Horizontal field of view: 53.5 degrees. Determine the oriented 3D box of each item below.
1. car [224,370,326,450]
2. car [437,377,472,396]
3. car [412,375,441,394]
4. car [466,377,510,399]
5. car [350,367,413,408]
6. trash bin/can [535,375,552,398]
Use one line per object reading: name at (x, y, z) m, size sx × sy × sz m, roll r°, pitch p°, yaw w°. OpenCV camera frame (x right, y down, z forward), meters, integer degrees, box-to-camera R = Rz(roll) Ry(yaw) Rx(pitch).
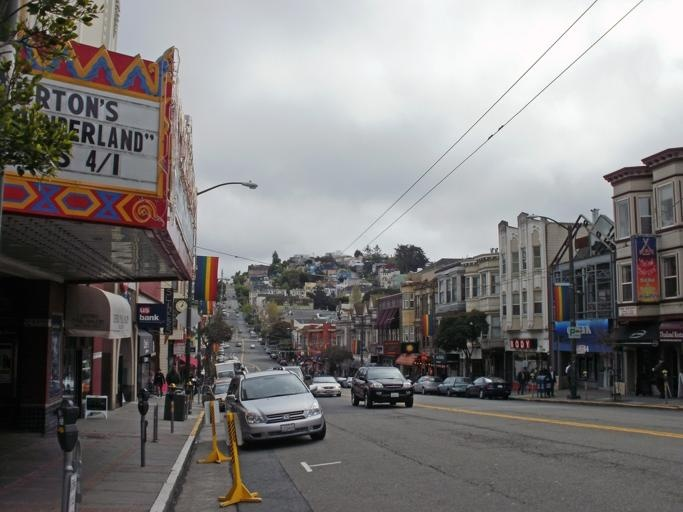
car at (-1.996, 4.166, 18.551) m, size 1.417 × 1.347 × 2.945 m, roll 0°, pitch -19°, yaw -16°
car at (7.692, 8.909, 46.199) m, size 0.990 × 0.802 × 2.258 m, roll 1°, pitch -7°, yaw -10°
car at (6.517, 9.645, 50.775) m, size 1.642 × 1.369 × 3.078 m, roll -1°, pitch -14°, yaw -6°
car at (8.738, 8.048, 41.465) m, size 1.072 × 0.902 × 2.556 m, roll 3°, pitch -9°, yaw -10°
car at (1.562, 5.543, 28.737) m, size 1.263 × 1.244 × 2.838 m, roll 2°, pitch -18°, yaw -12°
trash bin/can at (11.944, 7.675, 39.902) m, size 0.841 × 1.198 × 0.865 m, roll -5°, pitch -12°, yaw 13°
